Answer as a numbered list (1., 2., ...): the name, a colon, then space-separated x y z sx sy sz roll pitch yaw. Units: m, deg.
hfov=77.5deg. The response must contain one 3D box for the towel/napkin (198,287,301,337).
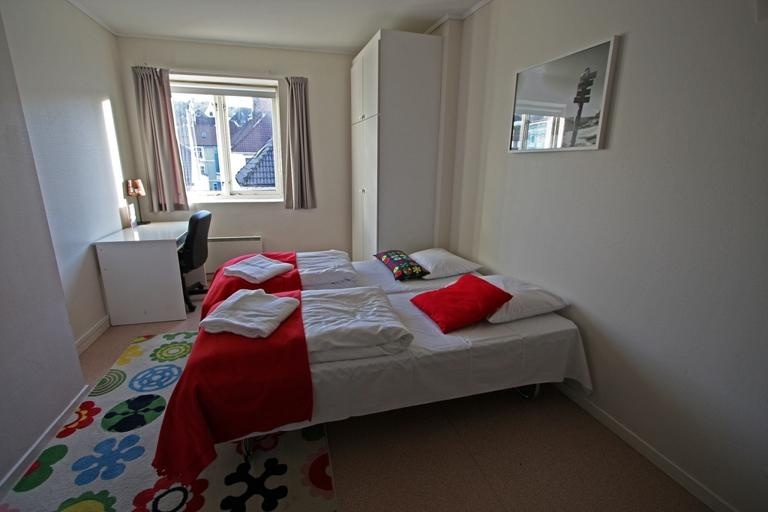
1. towel/napkin: -0.960 0.415 3.414 0.415 0.125 0.409 6 24 10

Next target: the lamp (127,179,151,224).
1. lamp: -2.664 -0.598 5.197 0.178 0.484 0.325 -9 20 -23

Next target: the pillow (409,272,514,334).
1. pillow: 0.614 0.351 3.696 0.477 0.148 0.501 -22 16 -6

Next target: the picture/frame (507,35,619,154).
1. picture/frame: 1.322 -1.156 3.701 0.039 0.725 0.923 -8 14 -25

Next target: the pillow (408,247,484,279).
1. pillow: 0.592 0.072 4.473 0.375 0.109 0.372 -9 17 -20

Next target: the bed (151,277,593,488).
1. bed: -0.145 0.750 3.368 2.248 0.675 1.424 -2 29 -10

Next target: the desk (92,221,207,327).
1. desk: -2.393 0.123 4.936 0.738 0.927 1.419 -5 19 -16

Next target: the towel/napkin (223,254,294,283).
1. towel/napkin: -1.081 0.107 4.168 0.320 0.092 0.322 16 21 33

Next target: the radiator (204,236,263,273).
1. radiator: -1.638 -0.019 5.118 0.453 0.315 0.059 -3 27 -11
